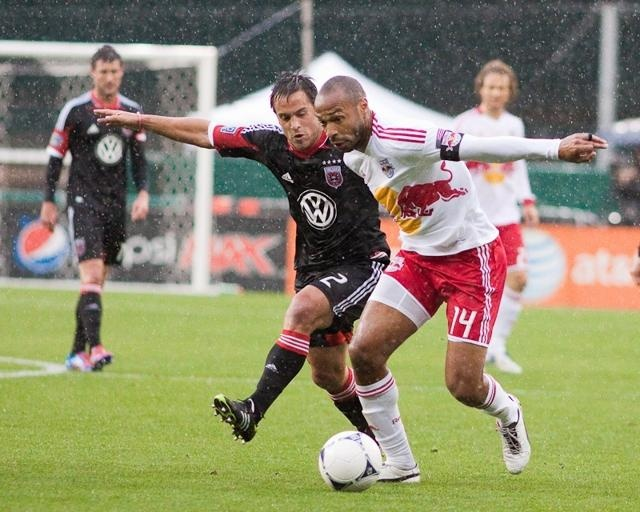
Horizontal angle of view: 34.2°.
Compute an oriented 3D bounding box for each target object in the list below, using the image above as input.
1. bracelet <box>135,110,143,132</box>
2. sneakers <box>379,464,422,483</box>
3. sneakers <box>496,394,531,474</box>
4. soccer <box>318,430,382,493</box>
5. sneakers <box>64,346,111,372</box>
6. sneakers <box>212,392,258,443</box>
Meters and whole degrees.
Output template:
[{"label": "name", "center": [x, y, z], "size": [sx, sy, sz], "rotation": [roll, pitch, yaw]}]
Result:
[{"label": "bracelet", "center": [-1.150, -0.855, 6.653], "size": [0.033, 0.095, 0.071], "rotation": [0, 37, -4]}, {"label": "sneakers", "center": [0.482, 1.298, 6.287], "size": [0.268, 0.123, 0.107], "rotation": [2, -3, 8]}, {"label": "sneakers", "center": [1.225, 1.144, 6.454], "size": [0.161, 0.546, 0.202], "rotation": [-10, -9, 27]}, {"label": "soccer", "center": [0.232, 1.237, 6.193], "size": [0.324, 0.366, 0.345], "rotation": [-15, -27, 34]}, {"label": "sneakers", "center": [-1.765, 0.797, 7.960], "size": [0.248, 0.125, 0.197], "rotation": [-6, -1, -5]}, {"label": "sneakers", "center": [-0.476, 0.911, 5.841], "size": [0.138, 0.310, 0.304], "rotation": [6, 7, 41]}]
